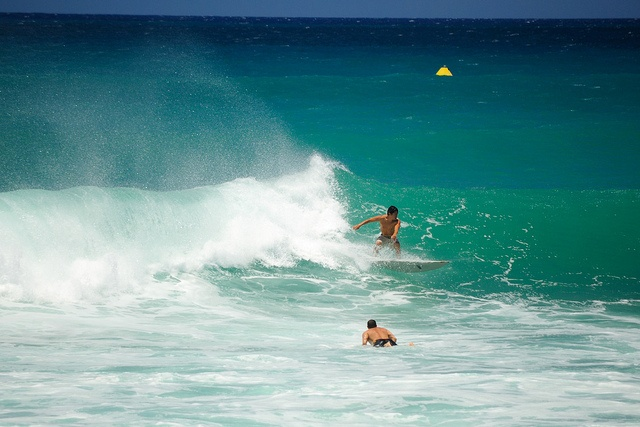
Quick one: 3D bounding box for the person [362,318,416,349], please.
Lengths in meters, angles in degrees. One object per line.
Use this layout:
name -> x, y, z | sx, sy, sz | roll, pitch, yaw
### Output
person -> 1.516, 3.226, 21.593 | 1.007, 0.469, 0.776 | 11, 15, 39
